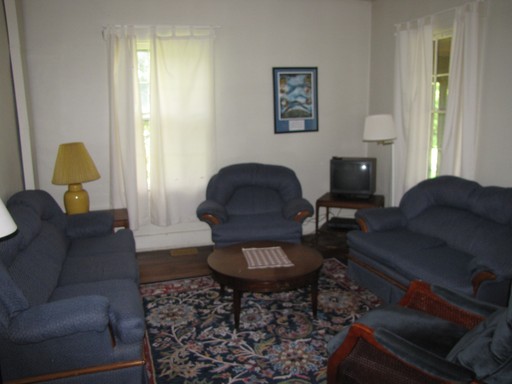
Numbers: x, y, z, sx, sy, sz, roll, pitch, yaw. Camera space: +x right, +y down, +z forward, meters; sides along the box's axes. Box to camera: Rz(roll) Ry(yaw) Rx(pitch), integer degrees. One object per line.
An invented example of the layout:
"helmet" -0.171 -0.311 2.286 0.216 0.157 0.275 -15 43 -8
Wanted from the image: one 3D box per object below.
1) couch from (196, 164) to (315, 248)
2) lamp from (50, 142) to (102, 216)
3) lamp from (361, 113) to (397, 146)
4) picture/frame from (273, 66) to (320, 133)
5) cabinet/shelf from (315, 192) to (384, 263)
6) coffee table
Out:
"couch" -0.022 0.133 5.025 1.316 0.822 1.093 -6 13 -10
"lamp" -2.067 -0.117 4.800 0.528 0.877 0.536 9 15 41
"lamp" 1.471 -0.744 5.091 0.370 0.322 0.373 -3 0 3
"picture/frame" 0.524 -1.290 5.675 0.843 1.086 0.107 -3 6 -18
"cabinet/shelf" 1.100 0.320 5.535 1.071 1.019 0.753 3 7 27
"coffee table" 0.135 0.872 4.082 1.100 0.528 1.106 1 10 15
